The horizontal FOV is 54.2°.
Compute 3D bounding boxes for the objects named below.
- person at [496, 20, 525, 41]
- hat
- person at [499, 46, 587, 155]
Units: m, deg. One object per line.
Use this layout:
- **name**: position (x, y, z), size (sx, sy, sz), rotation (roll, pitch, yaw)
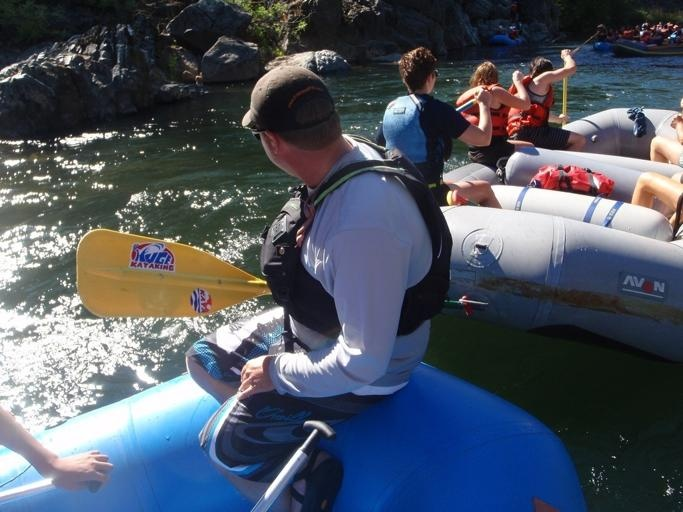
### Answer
- **person**: position (5.599, -7.503, 22.251), size (1.039, 0.437, 0.867), rotation (2, 36, 23)
- **hat**: position (-0.265, -0.674, 3.032), size (0.265, 0.204, 0.347), rotation (-30, 36, -29)
- **person**: position (2.085, -1.445, 6.838), size (0.666, 1.350, 0.593), rotation (5, -5, -7)
